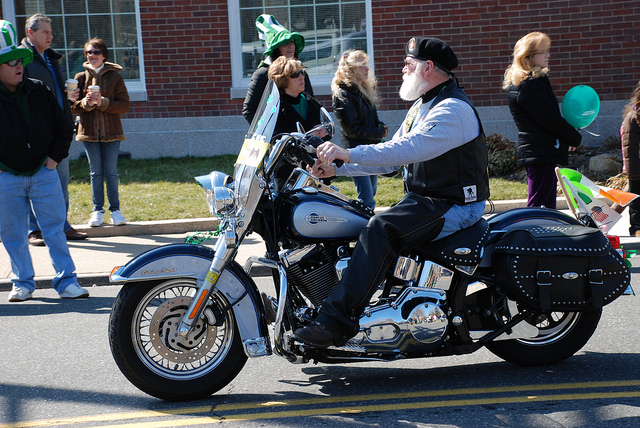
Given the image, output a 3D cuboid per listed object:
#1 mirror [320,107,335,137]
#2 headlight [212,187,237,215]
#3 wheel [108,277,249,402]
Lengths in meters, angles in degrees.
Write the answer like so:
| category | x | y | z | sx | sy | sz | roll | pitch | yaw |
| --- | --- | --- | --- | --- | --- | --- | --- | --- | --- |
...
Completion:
| category | x | y | z | sx | sy | sz | roll | pitch | yaw |
| --- | --- | --- | --- | --- | --- | --- | --- | --- | --- |
| mirror | 0.057 | -0.791 | 6.765 | 0.114 | 0.269 | 0.236 | 2 | 17 | -3 |
| headlight | -0.829 | -0.116 | 6.633 | 0.198 | 0.220 | 0.078 | 0 | 16 | -8 |
| wheel | -1.205 | 1.003 | 6.823 | 1.161 | 1.208 | 0.198 | 6 | -11 | -13 |
